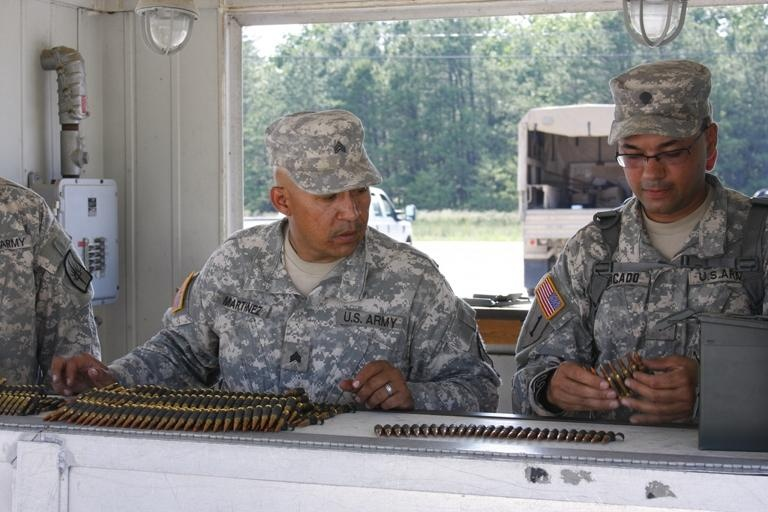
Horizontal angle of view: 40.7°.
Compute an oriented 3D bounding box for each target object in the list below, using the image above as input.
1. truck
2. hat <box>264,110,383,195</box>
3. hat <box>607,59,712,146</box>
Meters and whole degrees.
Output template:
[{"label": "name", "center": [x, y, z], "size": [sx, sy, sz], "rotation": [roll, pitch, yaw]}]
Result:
[{"label": "truck", "center": [2.110, -0.594, 10.851], "size": [1.497, 1.885, 2.546], "rotation": [3, 6, 5]}, {"label": "hat", "center": [-0.286, -0.549, 5.259], "size": [0.549, 0.344, 0.713], "rotation": [-6, 17, -22]}, {"label": "hat", "center": [1.381, -0.783, 5.209], "size": [0.517, 0.300, 0.681], "rotation": [9, 29, 39]}]
